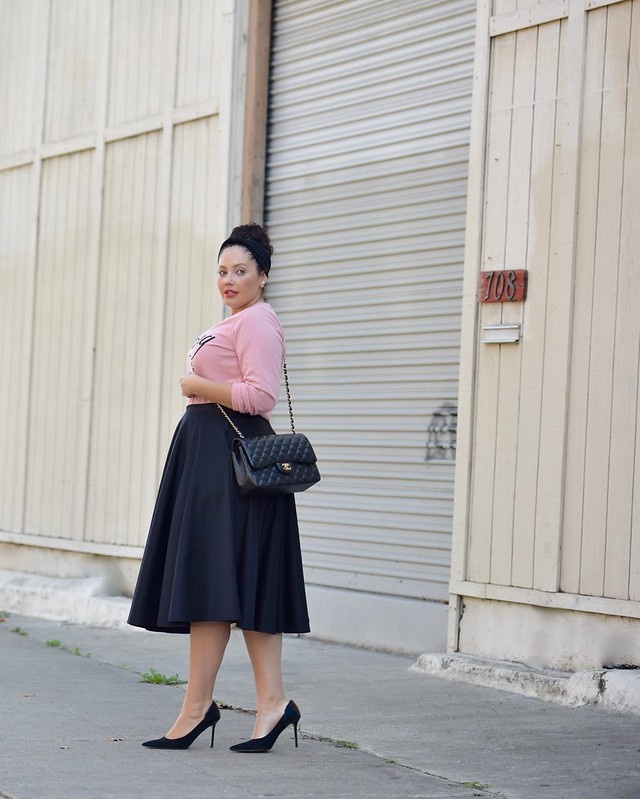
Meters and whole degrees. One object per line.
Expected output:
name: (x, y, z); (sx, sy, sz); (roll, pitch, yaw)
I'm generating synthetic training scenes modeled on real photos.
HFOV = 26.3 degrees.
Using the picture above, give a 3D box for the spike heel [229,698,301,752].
spike heel: (-0.179, 1.232, 5.151); (0.336, 0.189, 0.143); (5, -3, -35)

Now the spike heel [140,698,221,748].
spike heel: (-0.522, 1.222, 5.106); (0.248, 0.170, 0.123); (5, -3, -33)
